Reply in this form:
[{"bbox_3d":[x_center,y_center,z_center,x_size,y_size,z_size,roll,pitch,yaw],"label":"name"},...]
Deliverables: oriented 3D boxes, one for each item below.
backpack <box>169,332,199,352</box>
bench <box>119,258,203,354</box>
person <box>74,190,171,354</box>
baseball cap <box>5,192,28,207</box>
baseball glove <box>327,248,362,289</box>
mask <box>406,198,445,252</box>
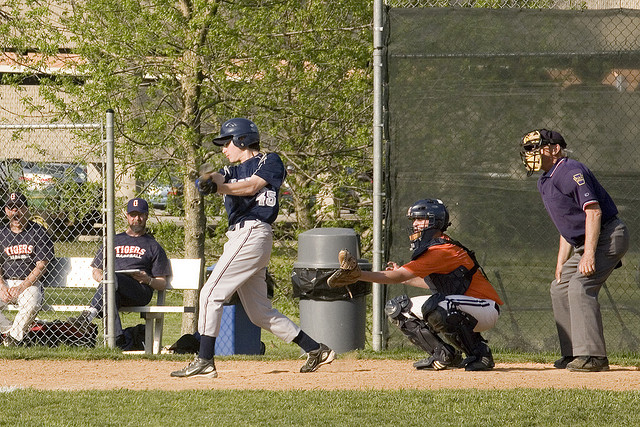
[{"bbox_3d":[-1.793,1.711,16.188,0.357,0.136,0.216,-15,-3,7],"label":"backpack"},{"bbox_3d":[-2.156,1.248,16.637,1.258,1.180,0.543,-3,-8,31],"label":"bench"},{"bbox_3d":[-2.511,0.735,16.145,1.005,2.271,1.136,0,0,-39],"label":"person"},{"bbox_3d":[-4.103,-0.203,16.547,0.283,0.201,0.247,0,-6,-16],"label":"baseball cap"},{"bbox_3d":[0.310,0.606,13.798,0.291,0.462,0.364,-1,-1,17],"label":"baseball glove"},{"bbox_3d":[1.205,0.122,14.647,0.533,0.671,0.574,0,-2,-2],"label":"mask"}]
